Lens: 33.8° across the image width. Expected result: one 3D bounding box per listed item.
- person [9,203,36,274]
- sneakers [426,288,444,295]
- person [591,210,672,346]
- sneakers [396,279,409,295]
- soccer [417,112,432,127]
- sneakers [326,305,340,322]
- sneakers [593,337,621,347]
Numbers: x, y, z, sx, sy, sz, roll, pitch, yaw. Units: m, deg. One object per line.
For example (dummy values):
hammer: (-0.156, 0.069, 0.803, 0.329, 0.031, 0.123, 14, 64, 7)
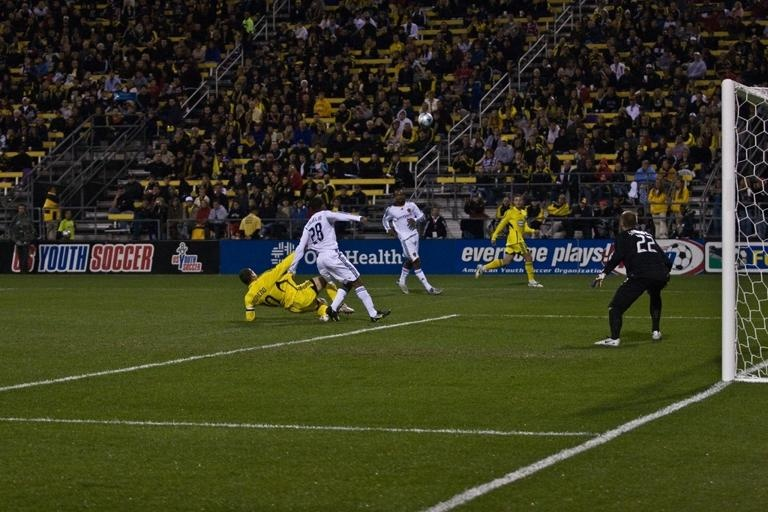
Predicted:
person: (-11.413, -0.459, 39.949, 0.731, 2.023, 1.208, 0, -1, -14)
sneakers: (1.267, 0.902, 31.027, 0.414, 0.154, 0.142, -3, 4, 20)
person: (4.585, 0.440, 23.375, 1.721, 2.489, 0.972, 1, -1, -35)
sneakers: (0.514, 0.818, 31.782, 0.202, 0.456, 0.162, -30, 9, 42)
soccer: (1.258, -4.142, 38.926, 0.467, 0.367, 0.384, -4, 12, -16)
sneakers: (-1.004, 1.203, 25.849, 0.191, 0.318, 0.154, 1, 46, 40)
sneakers: (4.103, 1.599, 23.165, 0.486, 0.156, 0.161, 1, -2, 14)
